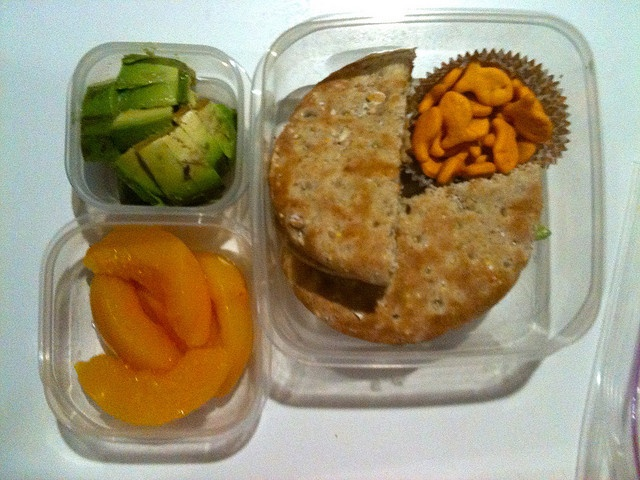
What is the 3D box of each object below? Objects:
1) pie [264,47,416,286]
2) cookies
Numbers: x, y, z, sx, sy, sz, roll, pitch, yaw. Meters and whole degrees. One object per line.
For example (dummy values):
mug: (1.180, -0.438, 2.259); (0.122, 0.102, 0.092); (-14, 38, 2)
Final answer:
pie: (0.053, -0.215, 2.010); (0.509, 0.975, 0.147); (7, -8, 5)
cookies: (0.441, -0.332, 2.058); (0.419, 0.344, 0.221); (-7, 33, -18)
